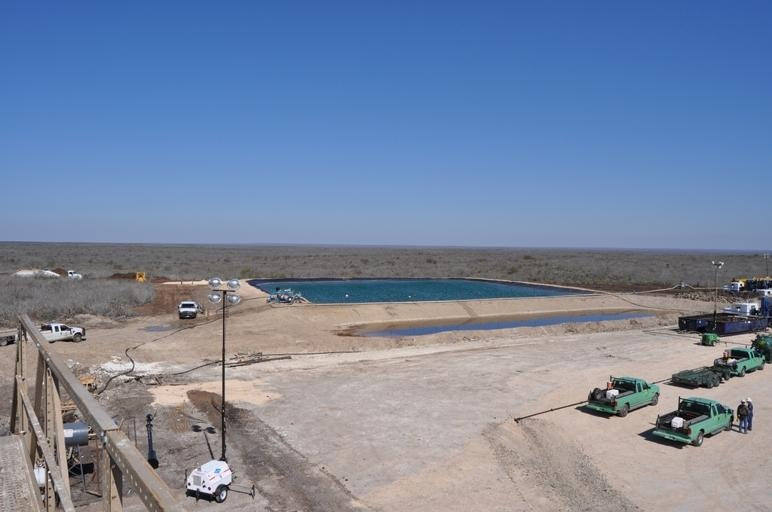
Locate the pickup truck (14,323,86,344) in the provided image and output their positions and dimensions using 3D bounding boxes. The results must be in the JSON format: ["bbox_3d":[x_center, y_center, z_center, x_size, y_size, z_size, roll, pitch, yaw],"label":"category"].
[{"bbox_3d":[-27.212,6.464,40.111,2.976,1.696,1.673,-3,8,-29],"label":"pickup truck"}]

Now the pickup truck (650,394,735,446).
[{"bbox_3d":[16.681,8.809,26.083,5.333,1.447,2.313,-4,3,-33],"label":"pickup truck"}]

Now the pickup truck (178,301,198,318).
[{"bbox_3d":[-22.120,5.996,53.594,2.056,1.019,2.676,0,-2,-24],"label":"pickup truck"}]

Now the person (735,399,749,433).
[{"bbox_3d":[19.826,8.862,26.354,0.580,1.720,1.141,8,11,37],"label":"person"}]

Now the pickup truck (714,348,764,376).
[{"bbox_3d":[26.508,8.136,36.304,5.273,1.345,2.111,-8,7,-29],"label":"pickup truck"}]
